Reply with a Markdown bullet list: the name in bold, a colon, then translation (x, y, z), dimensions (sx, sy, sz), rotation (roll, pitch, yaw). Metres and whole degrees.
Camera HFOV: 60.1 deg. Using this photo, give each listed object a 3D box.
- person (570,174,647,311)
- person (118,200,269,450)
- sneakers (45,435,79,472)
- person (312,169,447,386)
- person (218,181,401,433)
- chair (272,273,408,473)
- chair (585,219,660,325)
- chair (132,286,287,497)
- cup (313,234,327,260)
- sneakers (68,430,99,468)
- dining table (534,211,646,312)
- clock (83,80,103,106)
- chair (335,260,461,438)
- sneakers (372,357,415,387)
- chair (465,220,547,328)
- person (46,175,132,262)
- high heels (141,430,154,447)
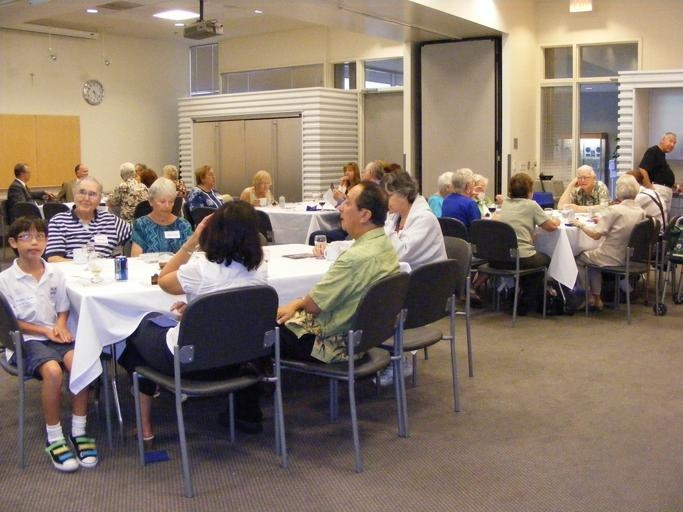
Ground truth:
- **person**: translation (2.634, -0.128, 5.873), dimensions (0.520, 1.373, 0.578), rotation (-2, 10, -24)
- **person**: translation (-0.795, 0.355, 3.110), dimensions (0.658, 1.265, 0.529), rotation (7, 0, 20)
- **sneakers**: translation (-1.464, 1.011, 3.063), dimensions (0.102, 0.100, 0.268), rotation (-11, 23, -43)
- **person**: translation (0.366, 0.146, 4.182), dimensions (0.874, 1.455, 0.567), rotation (9, -18, -15)
- **person**: translation (-0.159, 0.322, 3.320), dimensions (0.860, 1.417, 0.598), rotation (6, -1, 26)
- **chair**: translation (0.117, 0.536, 3.312), dimensions (0.557, 0.932, 0.599), rotation (-2, 0, -19)
- **chair**: translation (2.823, 0.077, 5.864), dimensions (0.535, 0.931, 0.548), rotation (-8, 11, -34)
- **chair**: translation (-0.665, 0.594, 3.009), dimensions (0.723, 0.980, 0.769), rotation (2, 6, 7)
- **cup**: translation (-0.143, -0.049, 4.166), dimensions (0.095, 0.176, 0.165), rotation (2, 10, 7)
- **sneakers**: translation (-1.353, 0.995, 3.104), dimensions (0.096, 0.102, 0.261), rotation (4, 20, -44)
- **dining table**: translation (2.501, -0.012, 6.010), dimensions (0.790, 0.911, 0.982), rotation (18, 1, -18)
- **clock**: translation (-5.234, -3.436, 12.459), dimensions (0.096, 0.532, 0.491), rotation (5, 11, 28)
- **chair**: translation (0.404, 0.474, 3.623), dimensions (0.593, 0.981, 0.647), rotation (-4, 9, -10)
- **sneakers**: translation (0.363, 0.829, 4.140), dimensions (0.202, 0.083, 0.283), rotation (-5, 6, 42)
- **chair**: translation (1.608, 0.100, 5.760), dimensions (0.656, 1.009, 0.683), rotation (-3, 9, -8)
- **person**: translation (-1.863, -0.223, 4.398), dimensions (0.326, 0.694, 0.764), rotation (1, 3, 36)
- **high heels**: translation (-1.070, 1.003, 3.267), dimensions (0.064, 0.036, 0.091), rotation (1, 3, -4)
